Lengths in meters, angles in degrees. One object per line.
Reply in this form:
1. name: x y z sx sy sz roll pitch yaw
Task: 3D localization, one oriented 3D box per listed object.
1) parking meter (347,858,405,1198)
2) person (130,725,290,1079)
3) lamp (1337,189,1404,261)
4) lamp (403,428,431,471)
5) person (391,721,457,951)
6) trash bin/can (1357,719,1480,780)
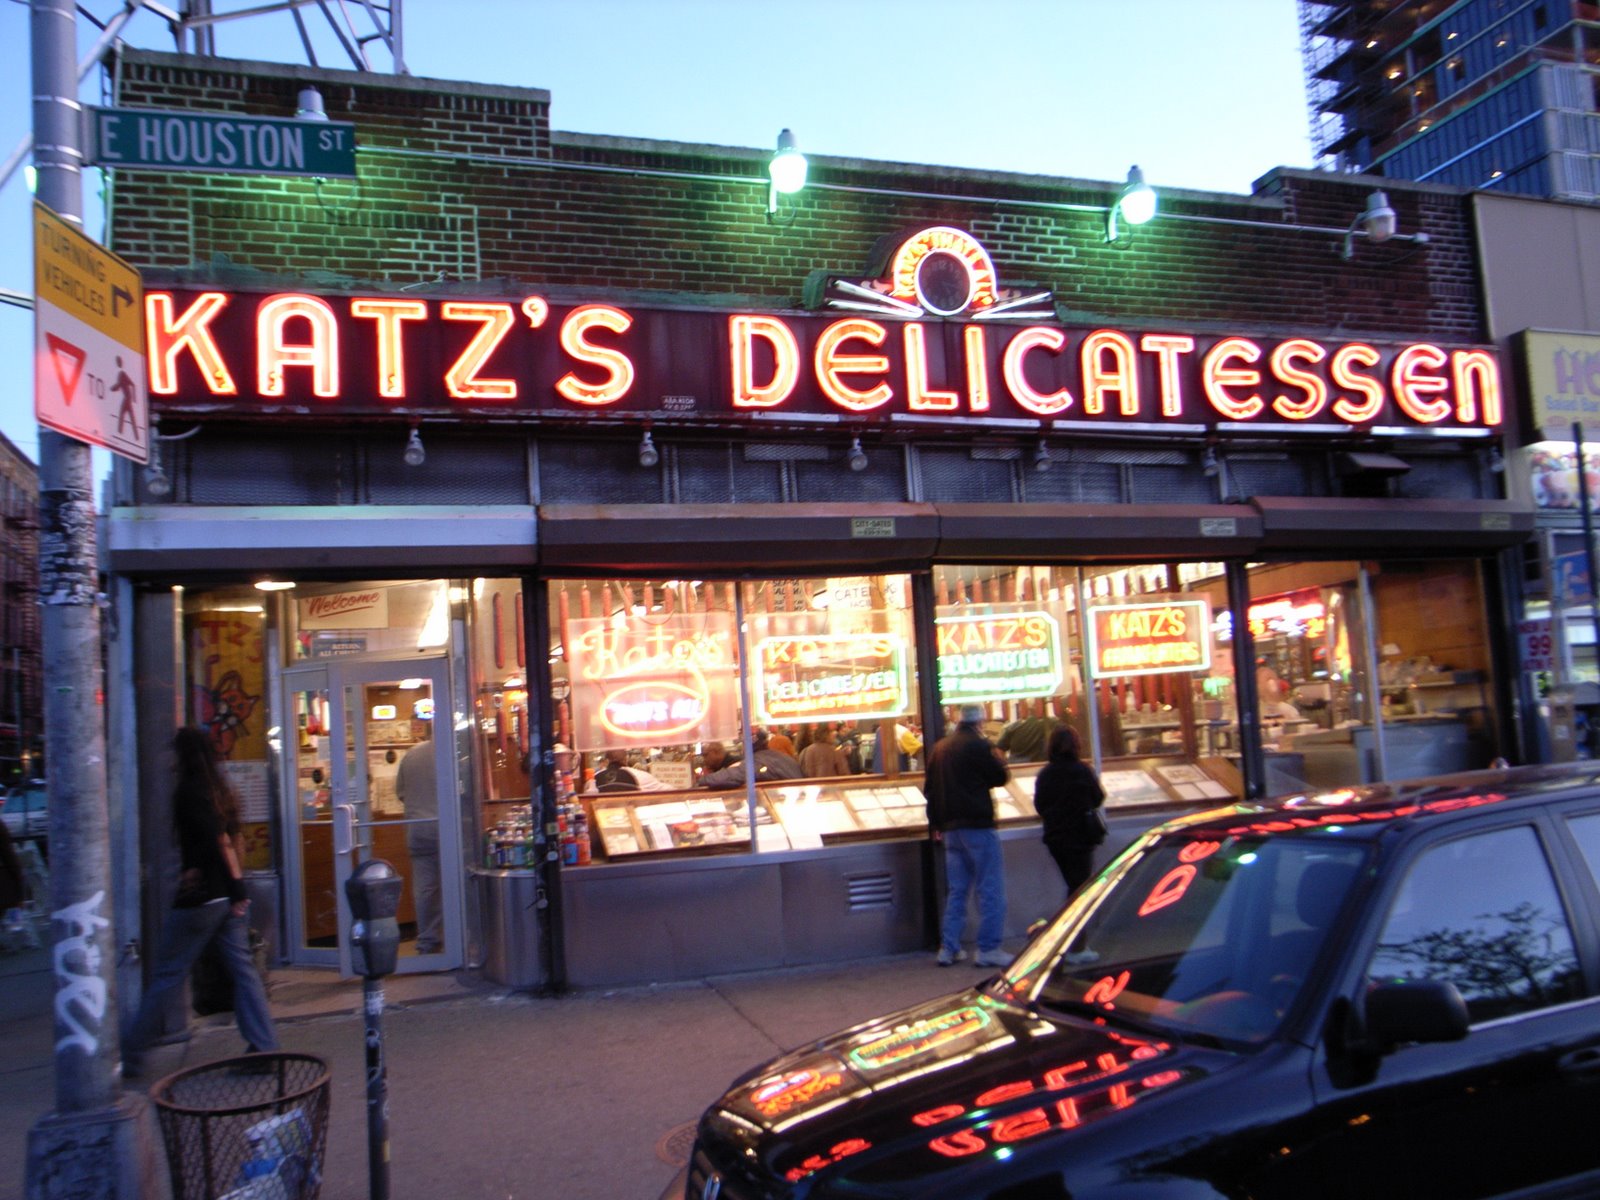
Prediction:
1. parking meter: -1.920 1.969 6.711 0.247 1.591 0.464 -5 1 -17
2. person: -3.805 1.943 9.191 1.207 2.327 0.524 -4 1 19
3. lamp: 5.565 -3.670 14.240 0.618 0.617 0.263 -4 1 -21
4. lamp: -2.874 -1.147 10.870 0.192 0.307 0.325 -4 1 -16
5. person: -3.077 1.921 11.825 0.311 1.907 0.378 -5 1 -18
6. trash bin/can: 5.662 1.383 13.382 1.104 0.841 0.557 5 -12 -9
